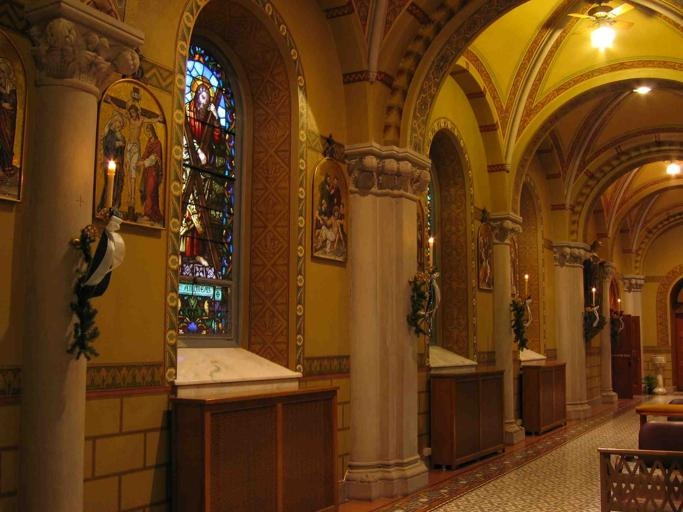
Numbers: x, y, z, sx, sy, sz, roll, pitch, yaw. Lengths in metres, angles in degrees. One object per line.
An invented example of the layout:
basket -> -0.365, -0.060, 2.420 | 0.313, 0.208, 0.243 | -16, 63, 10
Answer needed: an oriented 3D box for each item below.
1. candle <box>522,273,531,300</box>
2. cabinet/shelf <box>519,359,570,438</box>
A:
candle -> 4.101, 0.623, 13.041 | 0.115, 0.544, 0.246 | -8, -13, 34
cabinet/shelf -> 4.076, 2.813, 11.817 | 0.451, 1.367, 1.485 | -9, -14, 37
